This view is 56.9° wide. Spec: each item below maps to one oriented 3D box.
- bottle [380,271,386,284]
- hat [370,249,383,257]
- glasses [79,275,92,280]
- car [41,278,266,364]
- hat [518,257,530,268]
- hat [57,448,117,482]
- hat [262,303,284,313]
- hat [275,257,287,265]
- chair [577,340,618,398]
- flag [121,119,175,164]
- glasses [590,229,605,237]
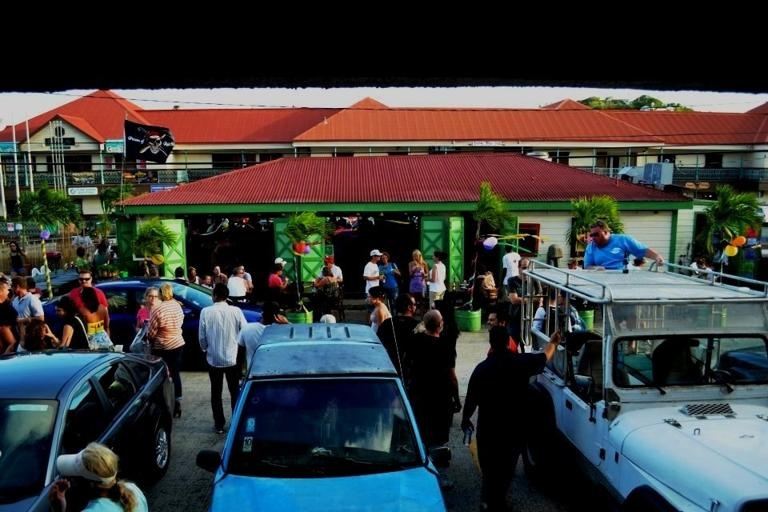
[{"bbox_3d":[-0.054,0.523,16.930,0.249,0.234,0.077,-1,0,39],"label":"bottle"},{"bbox_3d":[-0.263,-0.040,16.947,0.303,0.179,0.236,-16,-4,39],"label":"hat"},{"bbox_3d":[-5.083,0.375,12.113,0.154,0.104,0.199,-2,5,-31],"label":"glasses"},{"bbox_3d":[-4.269,1.282,13.379,3.811,1.252,1.694,-2,5,-10],"label":"car"},{"bbox_3d":[2.290,0.130,11.674,0.200,0.255,0.260,0,-15,14],"label":"hat"},{"bbox_3d":[-2.707,1.885,6.470,0.571,0.363,0.211,2,5,18],"label":"hat"},{"bbox_3d":[-1.674,0.761,10.511,0.190,0.131,0.183,1,-5,-1],"label":"hat"},{"bbox_3d":[-2.704,0.135,18.531,0.178,0.101,0.266,2,12,16],"label":"hat"},{"bbox_3d":[2.404,1.322,8.193,0.488,0.672,0.562,2,5,-1],"label":"chair"},{"bbox_3d":[-8.587,-4.121,25.900,1.632,1.464,0.856,0,4,-10],"label":"flag"},{"bbox_3d":[3.231,-0.344,10.764,0.035,0.119,0.116,-4,4,-40],"label":"glasses"}]
